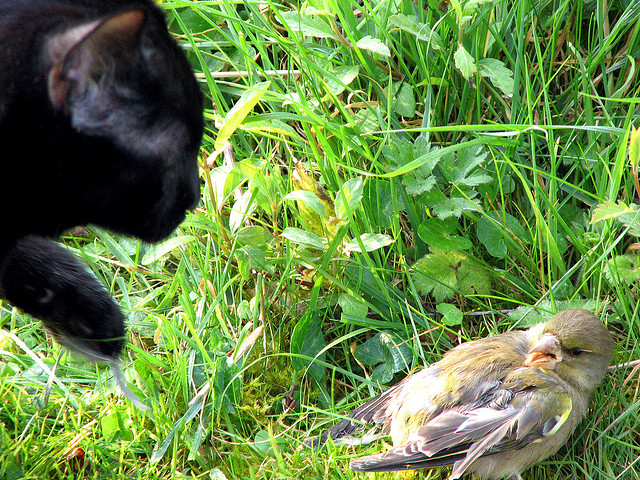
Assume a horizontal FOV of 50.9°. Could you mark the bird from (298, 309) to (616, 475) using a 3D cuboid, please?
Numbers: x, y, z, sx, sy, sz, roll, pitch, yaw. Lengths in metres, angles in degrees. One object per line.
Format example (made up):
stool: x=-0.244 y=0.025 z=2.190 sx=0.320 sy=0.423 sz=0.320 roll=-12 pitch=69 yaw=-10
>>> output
bird: x=0.515 y=0.575 z=2.688 sx=1.209 sy=0.598 sz=0.605 roll=0 pitch=23 yaw=-13
